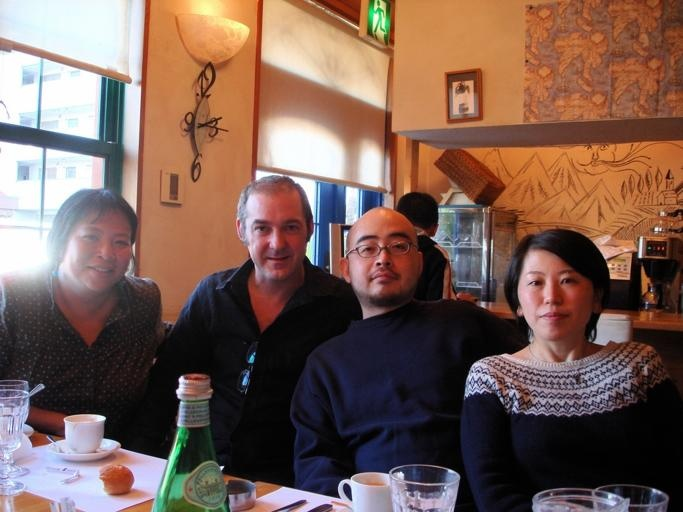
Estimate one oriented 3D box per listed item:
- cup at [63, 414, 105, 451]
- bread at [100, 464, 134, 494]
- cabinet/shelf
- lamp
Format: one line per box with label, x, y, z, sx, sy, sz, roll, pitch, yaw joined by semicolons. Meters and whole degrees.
cup;-0.765;0.537;1.644;0.124;0.105;0.131;2;-6;0
bread;-0.568;0.570;1.391;0.065;0.053;0.069;11;10;3
cabinet/shelf;1.420;-0.070;6.427;0.699;1.192;0.715;6;19;23
lamp;-0.954;-1.165;4.099;0.214;1.203;0.563;3;3;36
